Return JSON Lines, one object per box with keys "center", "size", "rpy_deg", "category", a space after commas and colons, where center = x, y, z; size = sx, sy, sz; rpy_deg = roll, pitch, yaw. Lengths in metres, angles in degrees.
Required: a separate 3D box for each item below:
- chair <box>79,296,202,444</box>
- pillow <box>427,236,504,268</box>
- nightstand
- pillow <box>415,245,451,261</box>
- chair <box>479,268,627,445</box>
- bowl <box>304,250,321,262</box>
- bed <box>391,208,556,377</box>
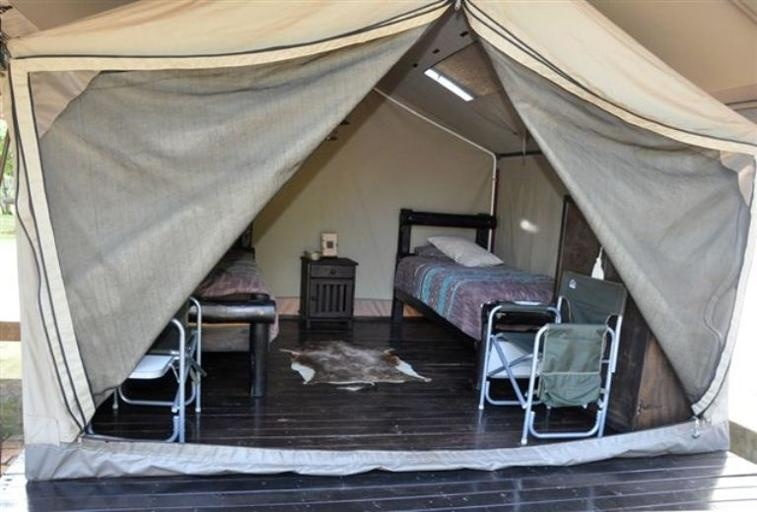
{"center": [-1.644, 0.647, 4.811], "size": [0.914, 1.060, 1.171], "rpy_deg": [2, 2, -2], "category": "chair"}
{"center": [0.935, -0.055, 7.639], "size": [0.406, 0.122, 0.610], "rpy_deg": [7, 14, -30], "category": "pillow"}
{"center": [-0.558, 0.420, 7.452], "size": [0.765, 0.943, 0.742], "rpy_deg": [1, 0, -8], "category": "nightstand"}
{"center": [0.599, -0.033, 7.872], "size": [0.236, 0.068, 0.241], "rpy_deg": [1, 17, -30], "category": "pillow"}
{"center": [1.275, 0.728, 5.046], "size": [0.846, 1.044, 0.802], "rpy_deg": [-4, 13, -22], "category": "chair"}
{"center": [-0.736, 0.007, 7.380], "size": [0.138, 0.076, 0.238], "rpy_deg": [0, 2, -17], "category": "bowl"}
{"center": [1.060, 0.269, 7.035], "size": [1.422, 1.193, 2.043], "rpy_deg": [-1, 13, -15], "category": "bed"}
